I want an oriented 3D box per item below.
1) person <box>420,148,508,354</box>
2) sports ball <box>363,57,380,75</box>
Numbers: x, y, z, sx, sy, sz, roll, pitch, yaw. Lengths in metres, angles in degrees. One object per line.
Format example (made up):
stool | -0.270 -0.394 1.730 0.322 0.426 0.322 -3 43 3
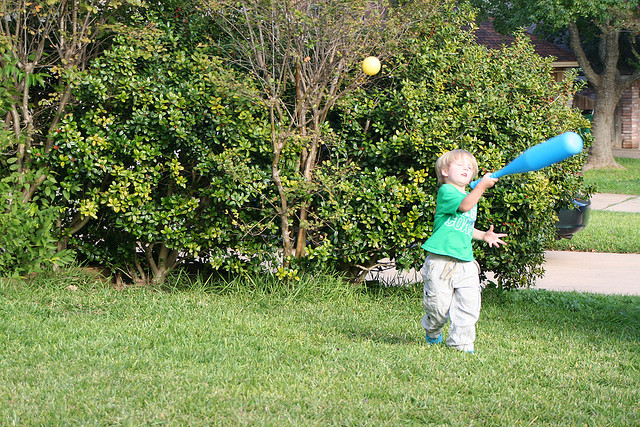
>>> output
person | 1.449 0.397 8.682 0.690 2.125 0.569 6 9 14
sports ball | 0.606 -1.730 9.535 0.181 0.185 0.206 3 10 -41
